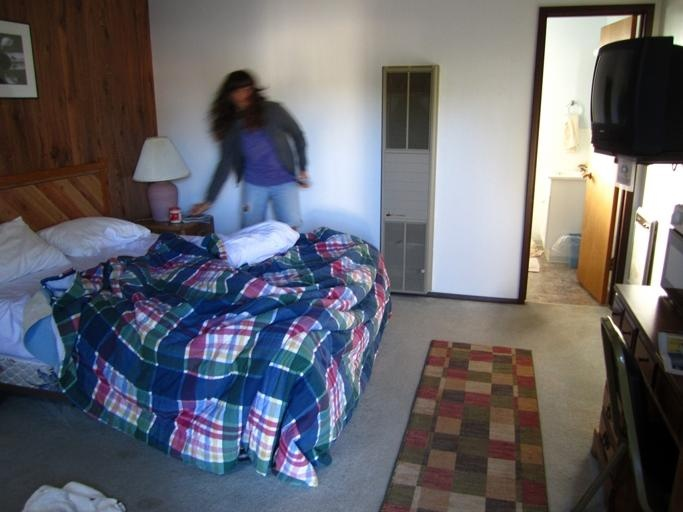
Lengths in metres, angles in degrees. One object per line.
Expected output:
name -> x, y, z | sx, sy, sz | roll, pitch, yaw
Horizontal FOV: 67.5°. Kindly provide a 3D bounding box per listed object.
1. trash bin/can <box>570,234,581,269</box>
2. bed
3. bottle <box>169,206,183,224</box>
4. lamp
trash bin/can -> 2.496, -0.069, 5.486 | 0.116, 0.281, 0.358 | 7, 21, 21
bed -> -0.675, 0.455, 2.797 | 2.099, 0.665, 1.481 | 10, 44, 12
bottle -> -1.500, -0.378, 4.597 | 0.127, 0.146, 0.127 | -8, 16, -35
lamp -> -1.676, -0.722, 4.741 | 0.487, 0.777, 0.490 | -12, 21, -37
